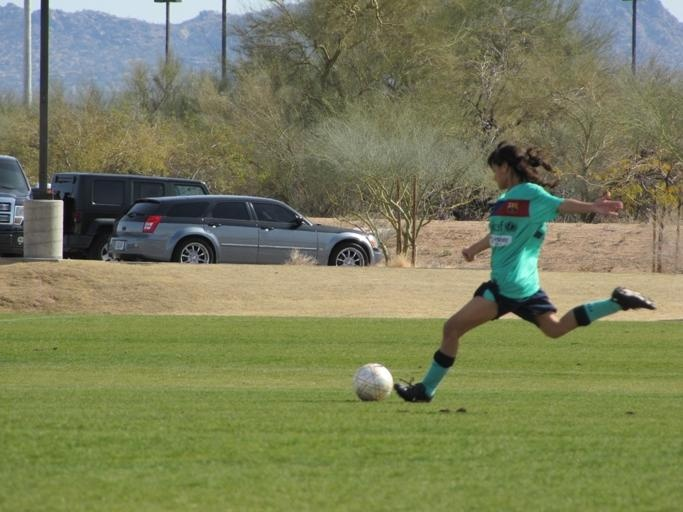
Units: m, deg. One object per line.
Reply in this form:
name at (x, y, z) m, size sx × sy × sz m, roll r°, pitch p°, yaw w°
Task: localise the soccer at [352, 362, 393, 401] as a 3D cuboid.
soccer at (0.558, 2.350, 28.728) m, size 0.727 × 0.671 × 0.679 m, roll 20°, pitch 5°, yaw -25°
